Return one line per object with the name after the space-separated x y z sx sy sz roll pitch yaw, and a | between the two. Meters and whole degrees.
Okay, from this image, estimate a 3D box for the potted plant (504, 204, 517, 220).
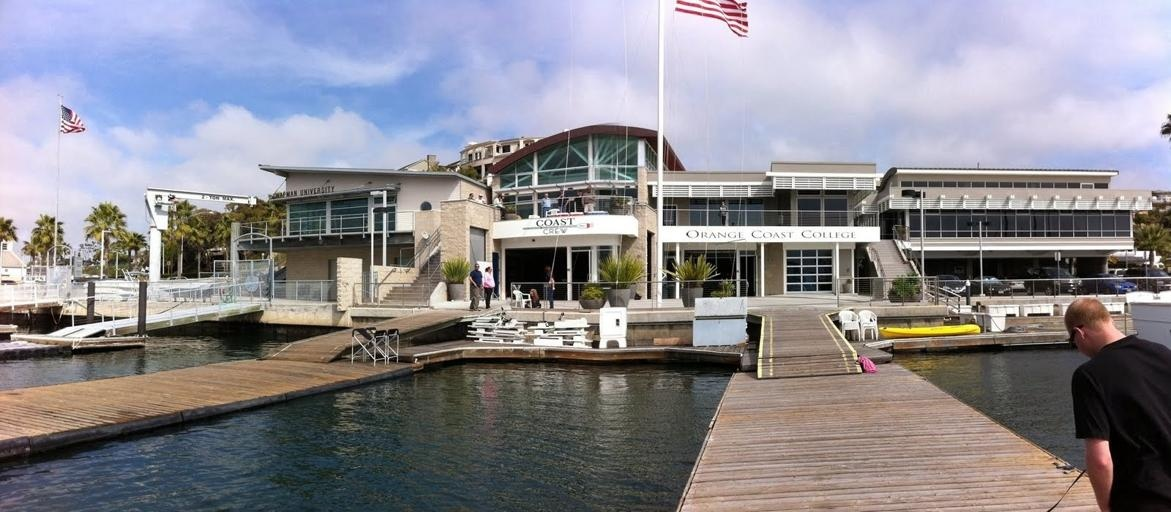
-6.417 -3.685 70.236 1.314 1.182 0.968 -8 -6 33 | potted plant

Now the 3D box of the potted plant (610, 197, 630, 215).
2.637 -4.146 68.349 1.880 1.335 1.733 0 2 -28 | potted plant

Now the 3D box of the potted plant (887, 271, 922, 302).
24.595 2.619 63.953 2.399 1.978 0.777 -2 -4 14 | potted plant

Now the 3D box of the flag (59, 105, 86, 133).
-44.059 -11.840 71.209 1.294 2.379 2.544 1 -5 -37 | flag
